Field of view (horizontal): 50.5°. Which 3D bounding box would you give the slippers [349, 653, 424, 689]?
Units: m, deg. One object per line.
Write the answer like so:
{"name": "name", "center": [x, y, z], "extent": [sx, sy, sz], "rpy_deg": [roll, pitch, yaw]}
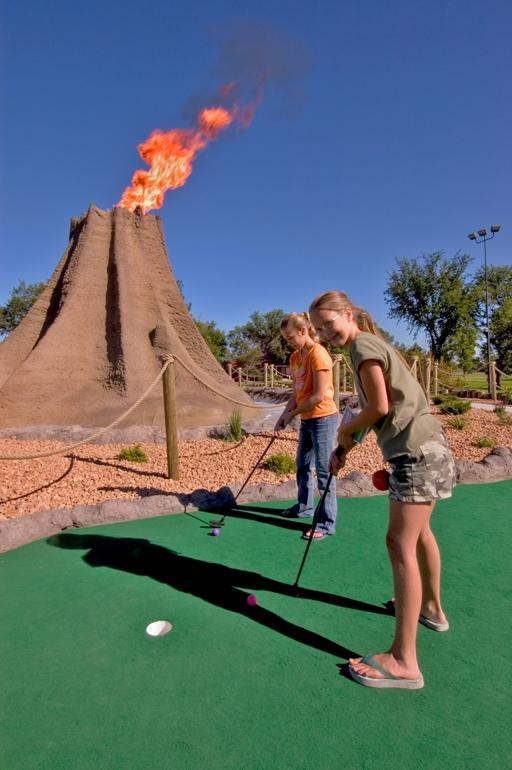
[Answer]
{"name": "slippers", "center": [0.499, 1.097, 2.127], "extent": [0.221, 0.071, 0.122], "rpy_deg": [0, -5, 19]}

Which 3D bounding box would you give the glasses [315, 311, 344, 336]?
{"name": "glasses", "center": [0.308, -0.256, 2.301], "extent": [0.029, 0.088, 0.088], "rpy_deg": [29, -26, -8]}

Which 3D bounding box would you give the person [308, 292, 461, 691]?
{"name": "person", "center": [0.513, 0.384, 2.281], "extent": [0.574, 1.552, 0.548], "rpy_deg": [1, 4, 18]}

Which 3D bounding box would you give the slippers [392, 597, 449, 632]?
{"name": "slippers", "center": [0.771, 1.081, 2.630], "extent": [0.131, 0.123, 0.350], "rpy_deg": [-2, -2, -11]}

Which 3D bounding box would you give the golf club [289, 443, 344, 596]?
{"name": "golf club", "center": [0.405, 0.914, 3.674], "extent": [0.066, 0.073, 1.073], "rpy_deg": [32, 27, 7]}
